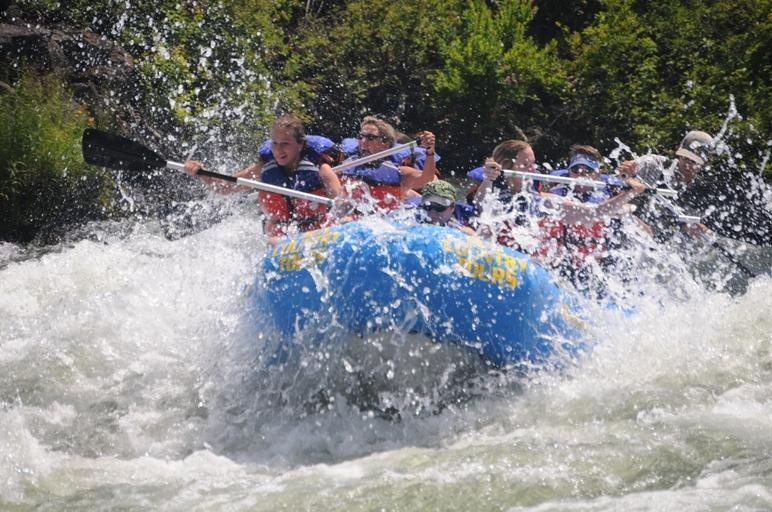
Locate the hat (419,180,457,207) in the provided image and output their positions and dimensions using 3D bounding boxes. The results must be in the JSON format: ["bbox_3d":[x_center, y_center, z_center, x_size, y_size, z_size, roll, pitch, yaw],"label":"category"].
[{"bbox_3d":[0.597,-0.697,12.205,0.269,0.316,0.250,7,75,8],"label":"hat"}]

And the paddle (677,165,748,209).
[{"bbox_3d":[4.739,-1.075,15.802,0.863,0.351,1.549,4,23,30],"label":"paddle"}]

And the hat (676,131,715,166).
[{"bbox_3d":[3.747,-1.324,13.141,0.318,0.275,0.482,26,17,-5],"label":"hat"}]
